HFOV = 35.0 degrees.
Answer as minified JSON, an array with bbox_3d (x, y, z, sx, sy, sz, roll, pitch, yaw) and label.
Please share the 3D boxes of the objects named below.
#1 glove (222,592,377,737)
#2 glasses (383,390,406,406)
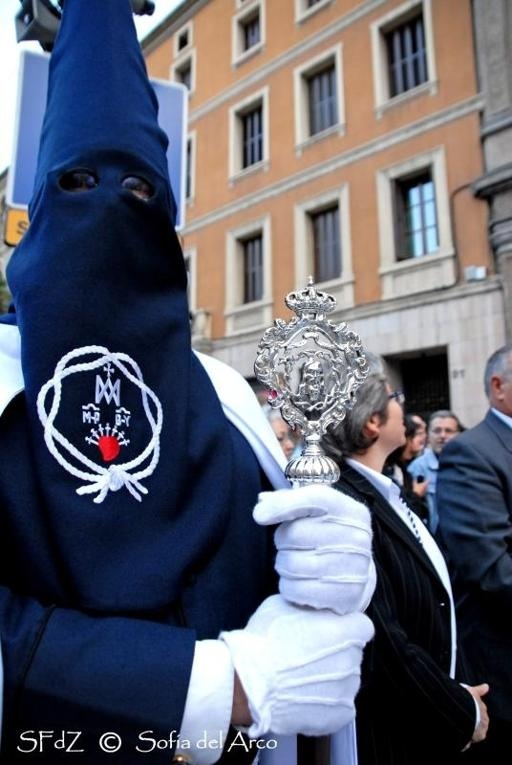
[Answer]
[{"bbox_3d":[0.065,0.437,1.259,0.257,0.200,0.138,-1,-10,-41],"label":"glove"},{"bbox_3d":[0.459,0.050,2.687,0.062,0.067,0.020,0,2,-14],"label":"glasses"}]
